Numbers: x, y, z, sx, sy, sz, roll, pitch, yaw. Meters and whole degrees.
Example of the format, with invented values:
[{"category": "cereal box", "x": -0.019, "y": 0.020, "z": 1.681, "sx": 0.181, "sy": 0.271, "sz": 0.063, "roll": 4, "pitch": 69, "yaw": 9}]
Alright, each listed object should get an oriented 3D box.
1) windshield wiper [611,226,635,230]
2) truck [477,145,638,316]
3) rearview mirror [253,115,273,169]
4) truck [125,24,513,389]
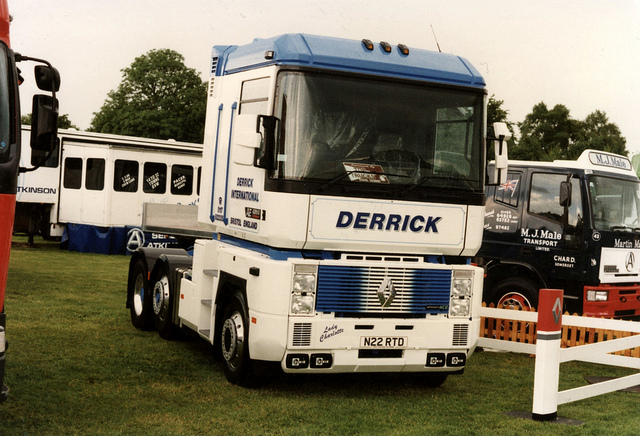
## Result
[{"category": "windshield wiper", "x": 5.388, "y": 0.170, "z": 11.655, "sx": 0.618, "sy": 0.056, "sz": 0.035, "roll": 1, "pitch": 4, "yaw": -30}, {"category": "truck", "x": 4.089, "y": 0.253, "z": 12.233, "sx": 2.238, "sy": 2.828, "sz": 3.780, "roll": 2, "pitch": -6, "yaw": -29}, {"category": "rearview mirror", "x": -0.720, "y": -0.940, "z": 8.056, "sx": 0.223, "sy": 0.647, "sz": 0.134, "roll": 6, "pitch": 4, "yaw": 45}, {"category": "truck", "x": -1.028, "y": 0.059, "z": 11.943, "sx": 3.524, "sy": 4.757, "sz": 8.333, "roll": 4, "pitch": -3, "yaw": -24}]
